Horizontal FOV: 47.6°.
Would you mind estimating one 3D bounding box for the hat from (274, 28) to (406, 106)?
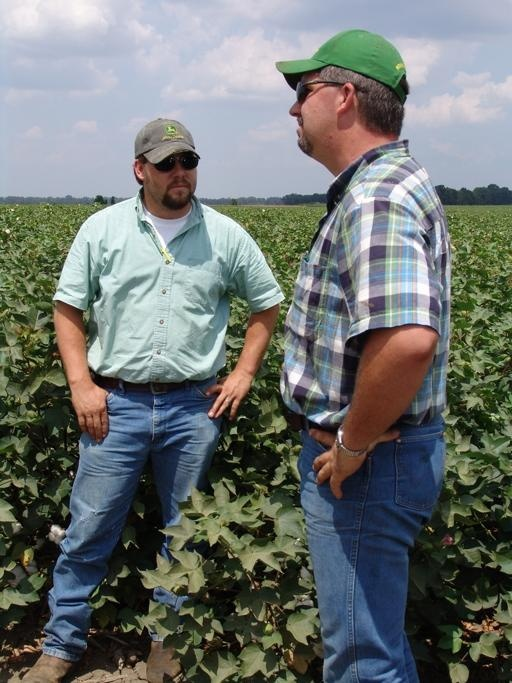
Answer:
[{"bbox_3d":[0.250,-0.850,1.814,0.384,0.158,0.229,7,-2,4],"label":"hat"}]

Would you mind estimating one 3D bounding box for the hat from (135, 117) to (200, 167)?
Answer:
[{"bbox_3d":[-0.408,-0.938,2.652,0.250,0.155,0.319,-17,31,-23],"label":"hat"}]

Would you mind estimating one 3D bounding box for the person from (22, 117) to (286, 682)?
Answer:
[{"bbox_3d":[-0.491,0.234,2.663,1.165,2.518,0.466,-2,6,-13],"label":"person"}]

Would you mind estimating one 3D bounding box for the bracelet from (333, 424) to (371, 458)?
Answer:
[{"bbox_3d":[0.259,0.283,1.625,0.086,0.029,0.082,30,8,-12],"label":"bracelet"}]

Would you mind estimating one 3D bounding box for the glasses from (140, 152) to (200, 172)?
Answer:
[{"bbox_3d":[-0.376,-0.791,2.574,0.238,0.102,0.113,-1,5,-11],"label":"glasses"}]
